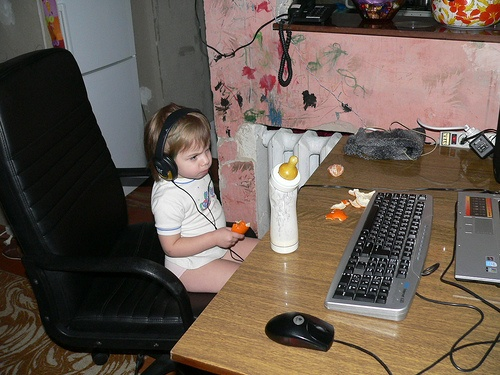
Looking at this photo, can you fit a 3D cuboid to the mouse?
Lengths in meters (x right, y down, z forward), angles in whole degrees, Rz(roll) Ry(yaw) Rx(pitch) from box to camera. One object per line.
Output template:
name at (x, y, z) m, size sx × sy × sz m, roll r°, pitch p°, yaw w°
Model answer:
mouse at (0.106, 0.296, 0.806) m, size 0.113 × 0.039 × 0.072 m, roll 6°, pitch 32°, yaw 15°

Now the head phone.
head phone at (-0.233, -0.142, 1.270) m, size 0.150 × 0.195 × 0.159 m, roll 16°, pitch 30°, yaw 23°

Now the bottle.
bottle at (0.084, 0.049, 1.051) m, size 0.088 × 0.246 × 0.119 m, roll 6°, pitch 27°, yaw 8°

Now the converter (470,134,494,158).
converter at (0.829, -0.149, 1.363) m, size 0.075 × 0.076 × 0.018 m, roll 48°, pitch 10°, yaw 16°

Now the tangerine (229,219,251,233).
tangerine at (-0.032, 0.133, 1.232) m, size 0.038 × 0.052 × 0.043 m, roll -10°, pitch 68°, yaw 13°

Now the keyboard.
keyboard at (0.376, 0.157, 1.034) m, size 0.209 × 0.076 × 0.494 m, roll 1°, pitch 30°, yaw 33°
